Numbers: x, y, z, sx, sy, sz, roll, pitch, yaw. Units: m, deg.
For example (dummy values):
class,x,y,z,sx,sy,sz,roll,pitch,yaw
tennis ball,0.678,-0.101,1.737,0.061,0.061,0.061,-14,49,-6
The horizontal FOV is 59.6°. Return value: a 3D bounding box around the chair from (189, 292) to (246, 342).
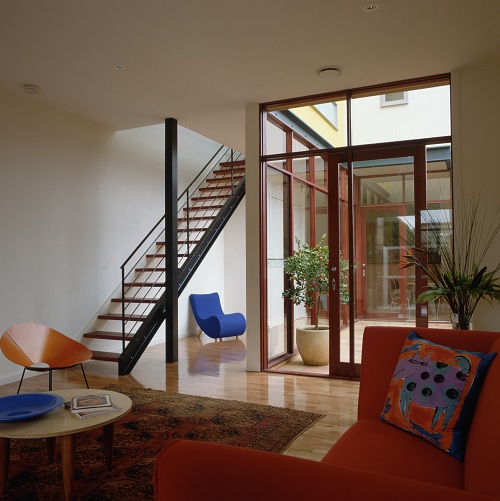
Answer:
class,x,y,z,sx,sy,sz,roll,pitch,yaw
chair,-0.584,1.109,7.434,0.565,0.832,0.933,3,-3,-42
